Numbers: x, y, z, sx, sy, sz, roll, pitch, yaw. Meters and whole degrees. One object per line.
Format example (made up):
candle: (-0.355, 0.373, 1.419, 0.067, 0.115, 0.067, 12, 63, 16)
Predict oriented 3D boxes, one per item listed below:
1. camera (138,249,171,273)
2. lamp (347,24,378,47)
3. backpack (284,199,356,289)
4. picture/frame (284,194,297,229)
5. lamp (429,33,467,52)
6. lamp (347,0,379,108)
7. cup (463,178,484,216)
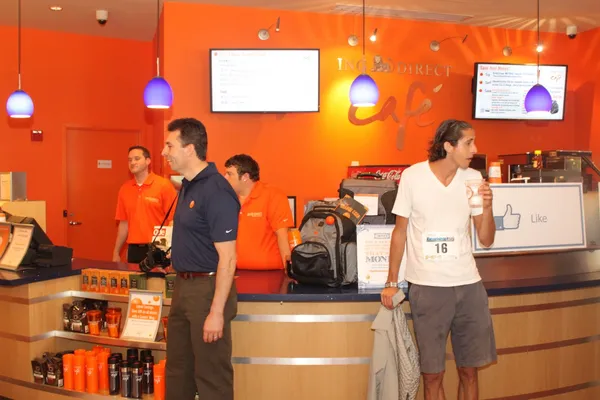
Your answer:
camera: (-1.283, 0.538, 4.951, 0.250, 0.168, 0.245, -1, 0, -25)
lamp: (0.862, -2.179, 7.491, 0.296, 0.297, 0.180, -27, 8, -19)
backpack: (0.208, 0.387, 4.788, 0.551, 0.711, 0.269, -1, -3, -2)
picture/frame: (-0.099, 0.130, 6.158, 0.032, 0.479, 0.423, -4, -5, 24)
lamp: (2.136, -2.227, 7.912, 0.607, 0.264, 0.062, 0, -3, -13)
lamp: (0.802, -1.839, 7.165, 0.350, 1.449, 1.161, -1, -3, 6)
cup: (1.391, -0.013, 4.407, 0.121, 0.277, 0.300, -2, -3, 19)
